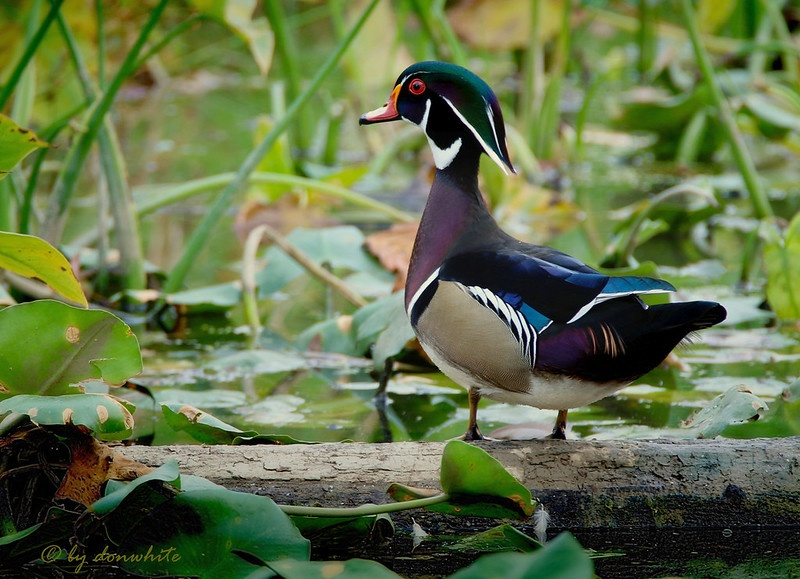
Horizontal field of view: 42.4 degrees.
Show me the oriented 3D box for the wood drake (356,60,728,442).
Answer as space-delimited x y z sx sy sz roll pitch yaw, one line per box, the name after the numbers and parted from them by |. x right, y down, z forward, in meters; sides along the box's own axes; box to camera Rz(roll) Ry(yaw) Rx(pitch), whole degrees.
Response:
0.278 -0.097 2.432 0.856 0.927 0.309 3 1 39 | wood drake
